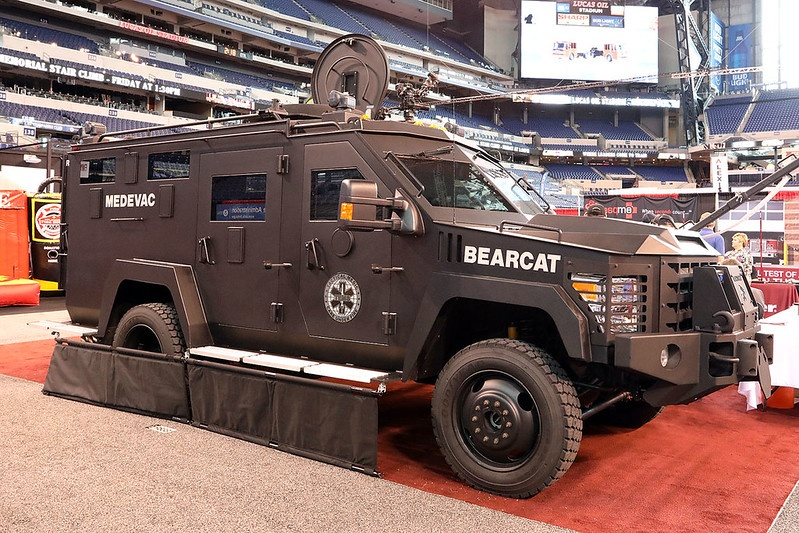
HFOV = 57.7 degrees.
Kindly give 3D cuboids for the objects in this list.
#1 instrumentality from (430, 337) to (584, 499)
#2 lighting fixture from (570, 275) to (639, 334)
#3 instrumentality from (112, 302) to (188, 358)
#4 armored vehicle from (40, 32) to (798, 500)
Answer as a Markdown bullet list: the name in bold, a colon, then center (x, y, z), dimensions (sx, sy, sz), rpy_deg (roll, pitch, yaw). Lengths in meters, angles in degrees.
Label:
- **instrumentality**: center (1.256, 1.838, 8.893), dimensions (1.846, 1.884, 0.718), rpy_deg (4, 6, 34)
- **lighting fixture**: center (2.438, 0.431, 8.530), dimensions (0.808, 0.654, 0.239), rpy_deg (0, 3, -12)
- **instrumentality**: center (-3.679, 1.161, 10.714), dimensions (1.154, 1.167, 0.418), rpy_deg (-3, -6, 24)
- **armored vehicle**: center (-0.217, -0.260, 11.403), dimensions (10.378, 5.697, 5.469), rpy_deg (2, 3, 32)
